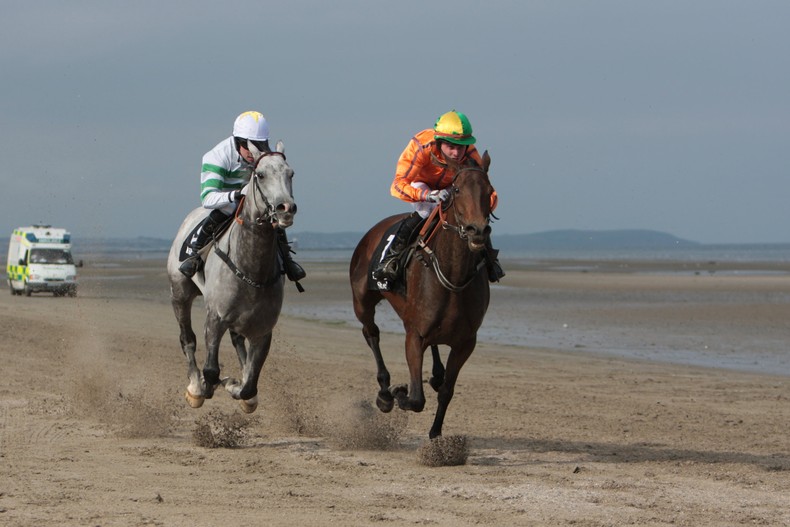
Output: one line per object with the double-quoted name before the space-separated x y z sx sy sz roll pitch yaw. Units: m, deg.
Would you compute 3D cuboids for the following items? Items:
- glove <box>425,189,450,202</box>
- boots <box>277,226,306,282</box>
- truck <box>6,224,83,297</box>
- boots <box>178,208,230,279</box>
"glove" 0.743 -1.182 21.662 0.261 0.253 0.397 -4 11 -32
"boots" -2.113 -0.316 22.941 0.541 1.064 0.234 -20 -11 27
"truck" -12.163 -0.006 41.795 2.130 2.450 4.015 0 -3 -22
"boots" -3.546 -0.429 22.535 0.347 1.548 0.456 21 -26 17
